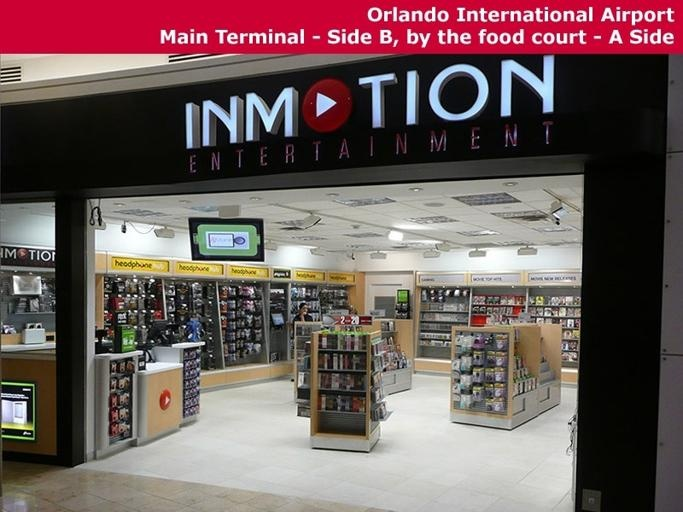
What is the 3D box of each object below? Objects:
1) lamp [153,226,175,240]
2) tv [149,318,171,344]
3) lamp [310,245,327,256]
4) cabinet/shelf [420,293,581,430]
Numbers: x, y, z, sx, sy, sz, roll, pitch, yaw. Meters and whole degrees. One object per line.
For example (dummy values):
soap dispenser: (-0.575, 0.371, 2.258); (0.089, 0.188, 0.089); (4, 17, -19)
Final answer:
lamp: (-3.622, -0.467, 11.528); (0.384, 0.252, 0.394); (-1, -5, 43)
tv: (-3.183, 1.265, 9.934); (0.504, 0.581, 0.338); (1, -5, -22)
lamp: (-0.701, -0.129, 17.245); (0.248, 0.254, 0.923); (1, -2, 20)
cabinet/shelf: (3.023, 2.104, 13.429); (4.507, 2.255, 7.174); (0, -2, 25)
